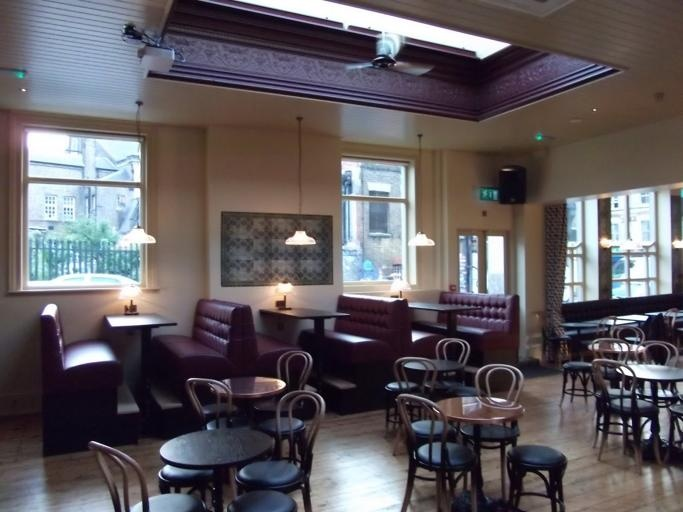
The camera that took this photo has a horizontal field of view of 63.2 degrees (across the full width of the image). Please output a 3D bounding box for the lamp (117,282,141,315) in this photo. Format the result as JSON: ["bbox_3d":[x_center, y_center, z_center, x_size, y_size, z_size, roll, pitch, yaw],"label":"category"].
[{"bbox_3d":[-3.114,0.622,8.310,0.403,0.595,0.400,0,3,-17],"label":"lamp"}]

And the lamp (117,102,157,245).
[{"bbox_3d":[-2.961,-1.130,8.068,0.489,2.006,1.136,1,1,-21],"label":"lamp"}]

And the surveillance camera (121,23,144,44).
[{"bbox_3d":[-2.151,-2.277,5.693,0.204,0.108,0.267,1,0,-24],"label":"surveillance camera"}]

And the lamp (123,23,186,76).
[{"bbox_3d":[-2.083,-2.248,5.953,0.589,0.390,0.332,-1,-29,-46],"label":"lamp"}]

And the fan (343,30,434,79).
[{"bbox_3d":[0.545,-2.397,6.384,0.770,0.432,0.650,2,1,38],"label":"fan"}]

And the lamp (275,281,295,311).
[{"bbox_3d":[-0.948,0.626,8.961,0.360,0.537,0.361,1,0,-7],"label":"lamp"}]

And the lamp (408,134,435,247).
[{"bbox_3d":[1.441,-1.097,9.870,0.479,1.759,1.287,2,1,9],"label":"lamp"}]

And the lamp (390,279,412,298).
[{"bbox_3d":[1.022,0.583,9.789,0.328,0.343,0.344,-2,4,-23],"label":"lamp"}]

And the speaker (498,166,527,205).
[{"bbox_3d":[3.255,-1.366,10.617,0.515,0.693,0.263,2,1,13],"label":"speaker"}]

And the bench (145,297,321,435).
[{"bbox_3d":[-1.714,1.386,7.506,1.576,1.265,2.153,3,-5,-28],"label":"bench"}]
